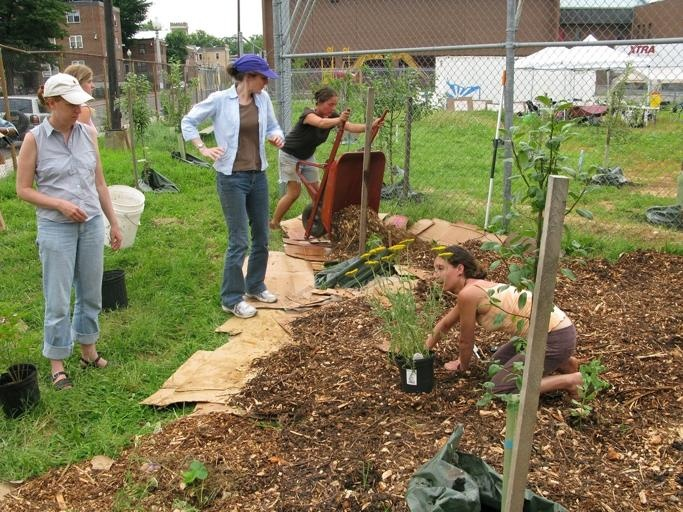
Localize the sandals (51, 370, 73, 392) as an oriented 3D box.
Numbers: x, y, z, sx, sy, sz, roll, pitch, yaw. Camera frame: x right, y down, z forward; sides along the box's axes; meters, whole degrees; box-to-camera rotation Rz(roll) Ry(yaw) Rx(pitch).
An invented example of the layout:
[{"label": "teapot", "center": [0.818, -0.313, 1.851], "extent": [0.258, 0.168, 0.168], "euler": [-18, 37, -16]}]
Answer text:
[{"label": "sandals", "center": [-2.305, 1.025, 5.184], "extent": [0.087, 0.064, 0.225], "euler": [-19, 31, -35]}]

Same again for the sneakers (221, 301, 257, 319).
[{"label": "sneakers", "center": [-1.028, 0.520, 6.396], "extent": [0.354, 0.171, 0.152], "euler": [4, 12, 24]}]

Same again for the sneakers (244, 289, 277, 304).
[{"label": "sneakers", "center": [-0.851, 0.403, 6.665], "extent": [0.341, 0.145, 0.139], "euler": [4, 11, 17]}]

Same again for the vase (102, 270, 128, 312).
[{"label": "vase", "center": [-2.316, 0.358, 6.439], "extent": [0.327, 0.371, 0.353], "euler": [-3, 5, -19]}]

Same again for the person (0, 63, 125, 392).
[{"label": "person", "center": [-2.259, -0.229, 5.247], "extent": [0.526, 2.537, 0.670], "euler": [3, 11, 6]}]

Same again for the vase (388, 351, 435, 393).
[{"label": "vase", "center": [0.563, 0.907, 4.919], "extent": [0.269, 0.230, 0.298], "euler": [-2, 6, -1]}]

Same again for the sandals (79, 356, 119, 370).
[{"label": "sandals", "center": [-2.127, 0.919, 5.476], "extent": [0.272, 0.104, 0.102], "euler": [-1, 21, -17]}]

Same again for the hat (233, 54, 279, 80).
[{"label": "hat", "center": [-0.808, -1.806, 5.987], "extent": [0.357, 0.181, 0.237], "euler": [2, 19, -22]}]

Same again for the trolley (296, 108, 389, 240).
[{"label": "trolley", "center": [-0.081, -0.877, 8.035], "extent": [0.659, 1.078, 2.066], "euler": [-11, -9, -31]}]

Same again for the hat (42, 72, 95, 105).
[{"label": "hat", "center": [-2.128, -1.310, 4.918], "extent": [0.322, 0.179, 0.216], "euler": [2, 21, -1]}]

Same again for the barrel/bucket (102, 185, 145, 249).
[{"label": "barrel/bucket", "center": [-2.500, -0.442, 7.189], "extent": [0.536, 0.562, 0.550], "euler": [13, 25, -6]}]

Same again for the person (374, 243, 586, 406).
[{"label": "person", "center": [1.124, 0.494, 4.688], "extent": [1.214, 1.051, 1.093], "euler": [-7, 14, -39]}]
